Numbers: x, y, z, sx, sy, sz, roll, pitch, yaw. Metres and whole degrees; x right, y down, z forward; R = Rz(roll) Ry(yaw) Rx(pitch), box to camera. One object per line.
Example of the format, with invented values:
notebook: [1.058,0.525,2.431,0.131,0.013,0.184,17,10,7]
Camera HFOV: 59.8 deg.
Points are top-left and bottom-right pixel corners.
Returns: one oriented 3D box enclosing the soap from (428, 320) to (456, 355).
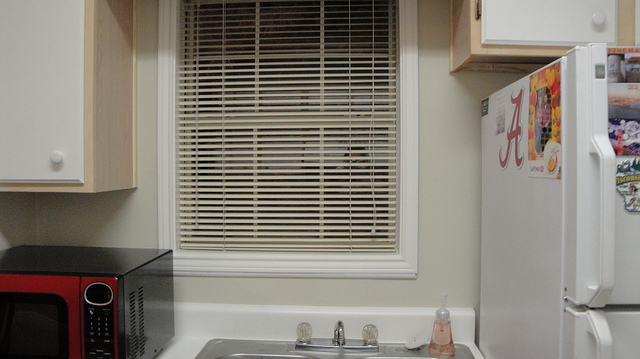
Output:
soap: [0.625,0.804,2.842,0.141,0.173,0.064,-1,-7,3]

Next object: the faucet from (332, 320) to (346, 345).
faucet: [0.100,0.796,2.899,0.065,0.119,0.086,-1,-7,1]

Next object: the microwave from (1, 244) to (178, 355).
microwave: [-1.145,0.599,2.887,0.794,0.466,0.528,1,-3,4]
